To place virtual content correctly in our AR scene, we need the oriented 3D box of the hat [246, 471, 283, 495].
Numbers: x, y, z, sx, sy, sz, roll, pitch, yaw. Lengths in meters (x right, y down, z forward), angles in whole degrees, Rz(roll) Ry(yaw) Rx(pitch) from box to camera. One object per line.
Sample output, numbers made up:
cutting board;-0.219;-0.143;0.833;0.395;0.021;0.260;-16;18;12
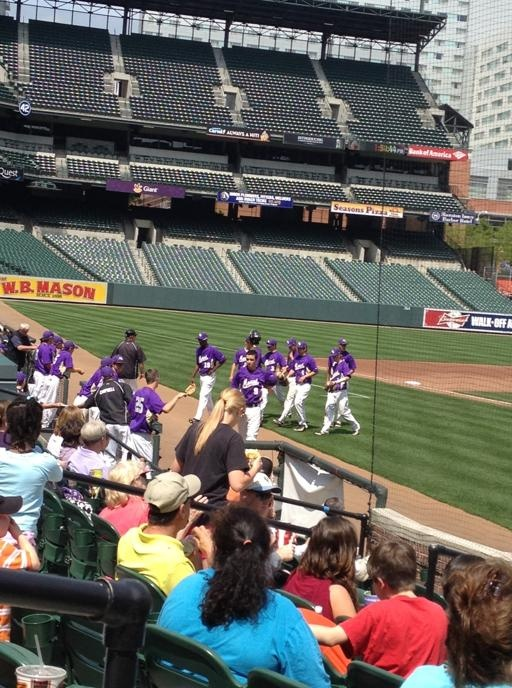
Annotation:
hat;0.048;0.899;4.861;0.215;0.098;0.154;2;-6;39
